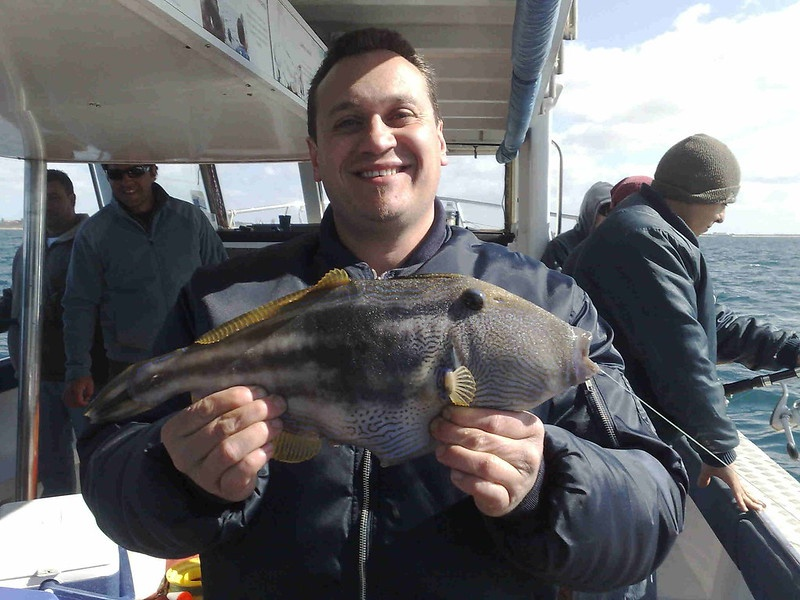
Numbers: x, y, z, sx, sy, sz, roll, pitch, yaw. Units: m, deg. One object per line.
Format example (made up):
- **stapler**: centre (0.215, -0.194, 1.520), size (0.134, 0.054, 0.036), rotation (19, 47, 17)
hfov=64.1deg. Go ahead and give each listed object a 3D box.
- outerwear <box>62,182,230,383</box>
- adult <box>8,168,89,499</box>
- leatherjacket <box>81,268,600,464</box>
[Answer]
- **outerwear**: centre (-2.363, -0.266, 6.122), size (1.775, 1.704, 0.745), rotation (-9, 13, -38)
- **adult**: centre (-2.732, 0.256, 4.994), size (0.699, 3.119, 1.193), rotation (0, 2, -29)
- **leatherjacket**: centre (-0.222, 0.261, 2.415), size (1.857, 0.785, 0.386), rotation (-6, 6, -2)
